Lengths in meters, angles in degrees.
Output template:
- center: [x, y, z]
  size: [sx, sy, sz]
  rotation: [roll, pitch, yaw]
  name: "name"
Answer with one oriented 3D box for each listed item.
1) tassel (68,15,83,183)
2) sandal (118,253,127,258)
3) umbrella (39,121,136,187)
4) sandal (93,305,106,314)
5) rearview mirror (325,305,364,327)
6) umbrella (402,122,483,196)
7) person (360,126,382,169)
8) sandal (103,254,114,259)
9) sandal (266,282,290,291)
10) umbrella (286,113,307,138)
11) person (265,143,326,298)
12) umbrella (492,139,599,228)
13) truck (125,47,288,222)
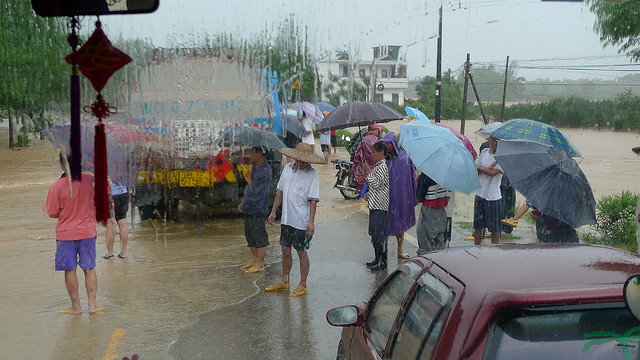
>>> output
- center: [-3.243, -1.171, 8.309]
  size: [0.240, 2.254, 0.207]
  rotation: [11, 23, 6]
  name: "tassel"
- center: [-4.074, 1.584, 12.807]
  size: [0.136, 0.136, 0.084]
  rotation: [-1, -3, 40]
  name: "sandal"
- center: [-4.798, -0.629, 12.447]
  size: [1.827, 0.837, 1.889]
  rotation: [2, -17, -21]
  name: "umbrella"
- center: [-3.779, 2.245, 10.615]
  size: [0.173, 0.061, 0.076]
  rotation: [-20, -2, 11]
  name: "sandal"
- center: [0.324, 1.779, 7.998]
  size: [0.316, 0.076, 0.324]
  rotation: [2, 3, 20]
  name: "rearview mirror"
- center: [2.231, -0.423, 11.409]
  size: [1.391, 1.269, 0.791]
  rotation: [1, 8, 15]
  name: "umbrella"
- center: [1.202, -0.754, 14.626]
  size: [0.425, 0.589, 1.096]
  rotation: [-13, -33, -1]
  name: "person"
- center: [-4.343, 1.586, 12.779]
  size: [0.187, 0.065, 0.184]
  rotation: [-3, 8, -13]
  name: "sandal"
- center: [-0.748, 1.973, 11.410]
  size: [0.404, 0.166, 0.153]
  rotation: [3, 0, -4]
  name: "sandal"
- center: [-0.681, -1.524, 17.458]
  size: [0.475, 0.664, 0.714]
  rotation: [-1, 8, 3]
  name: "umbrella"
- center: [-0.388, 0.719, 11.246]
  size: [0.865, 2.777, 0.563]
  rotation: [-1, 8, 4]
  name: "person"
- center: [3.963, 0.068, 10.813]
  size: [1.602, 1.508, 0.721]
  rotation: [1, 8, 17]
  name: "umbrella"
- center: [-4.811, -1.231, 17.561]
  size: [4.210, 4.123, 6.793]
  rotation: [-6, 7, -40]
  name: "truck"
